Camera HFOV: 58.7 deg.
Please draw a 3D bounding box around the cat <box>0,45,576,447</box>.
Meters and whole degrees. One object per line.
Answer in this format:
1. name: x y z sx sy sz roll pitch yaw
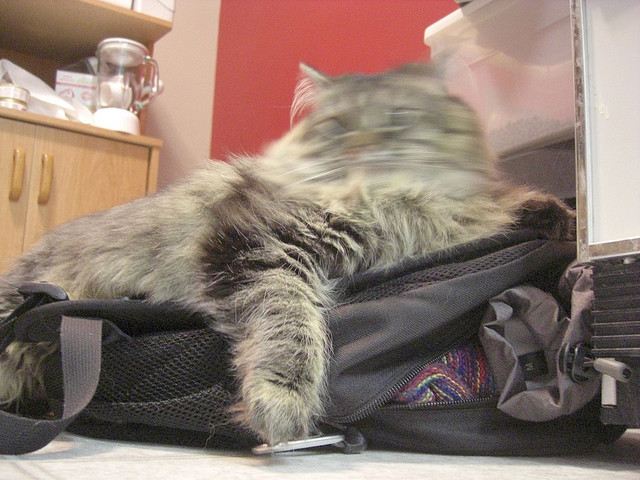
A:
1. cat: -0.080 -0.026 1.019 0.794 0.451 0.651 -18 -24 31
